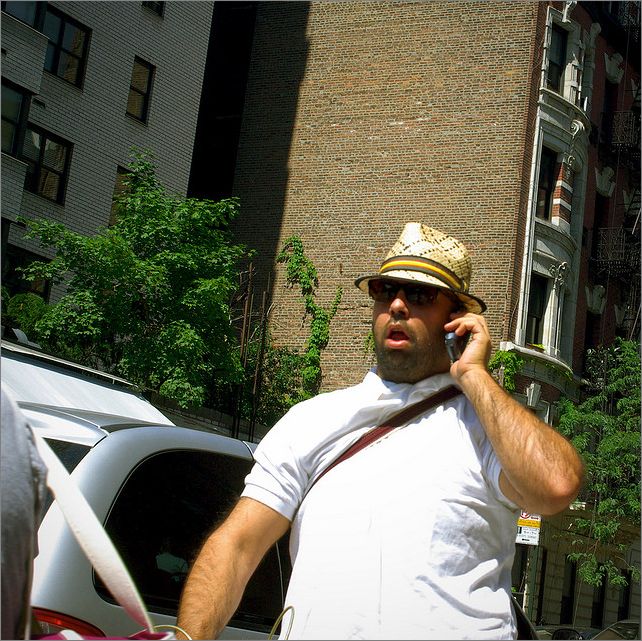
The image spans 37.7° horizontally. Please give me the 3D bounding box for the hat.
[{"bbox_3d":[0.306,-0.178,2.838,0.394,0.171,0.349,15,-5,-44],"label":"hat"}]
